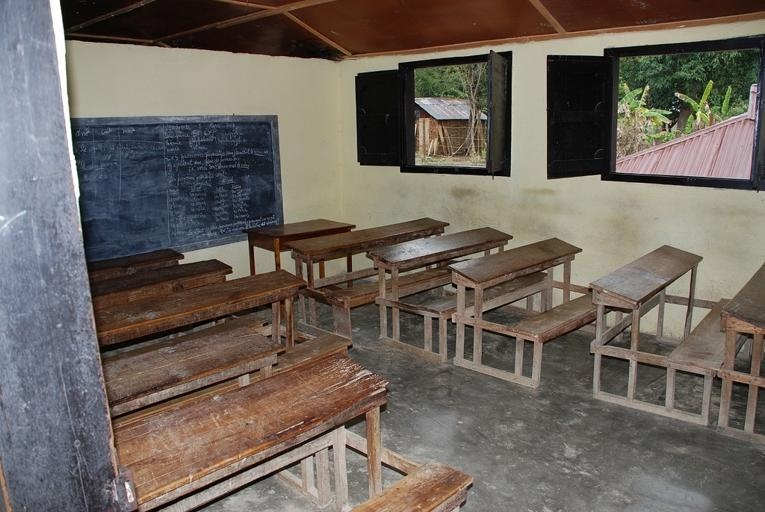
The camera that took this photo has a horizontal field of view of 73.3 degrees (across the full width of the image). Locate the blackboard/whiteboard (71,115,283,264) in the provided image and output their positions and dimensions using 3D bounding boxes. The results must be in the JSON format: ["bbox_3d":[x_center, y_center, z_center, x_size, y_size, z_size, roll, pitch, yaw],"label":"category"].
[{"bbox_3d":[-2.407,-0.773,5.912,2.012,1.064,0.070,-11,18,-39],"label":"blackboard/whiteboard"}]
